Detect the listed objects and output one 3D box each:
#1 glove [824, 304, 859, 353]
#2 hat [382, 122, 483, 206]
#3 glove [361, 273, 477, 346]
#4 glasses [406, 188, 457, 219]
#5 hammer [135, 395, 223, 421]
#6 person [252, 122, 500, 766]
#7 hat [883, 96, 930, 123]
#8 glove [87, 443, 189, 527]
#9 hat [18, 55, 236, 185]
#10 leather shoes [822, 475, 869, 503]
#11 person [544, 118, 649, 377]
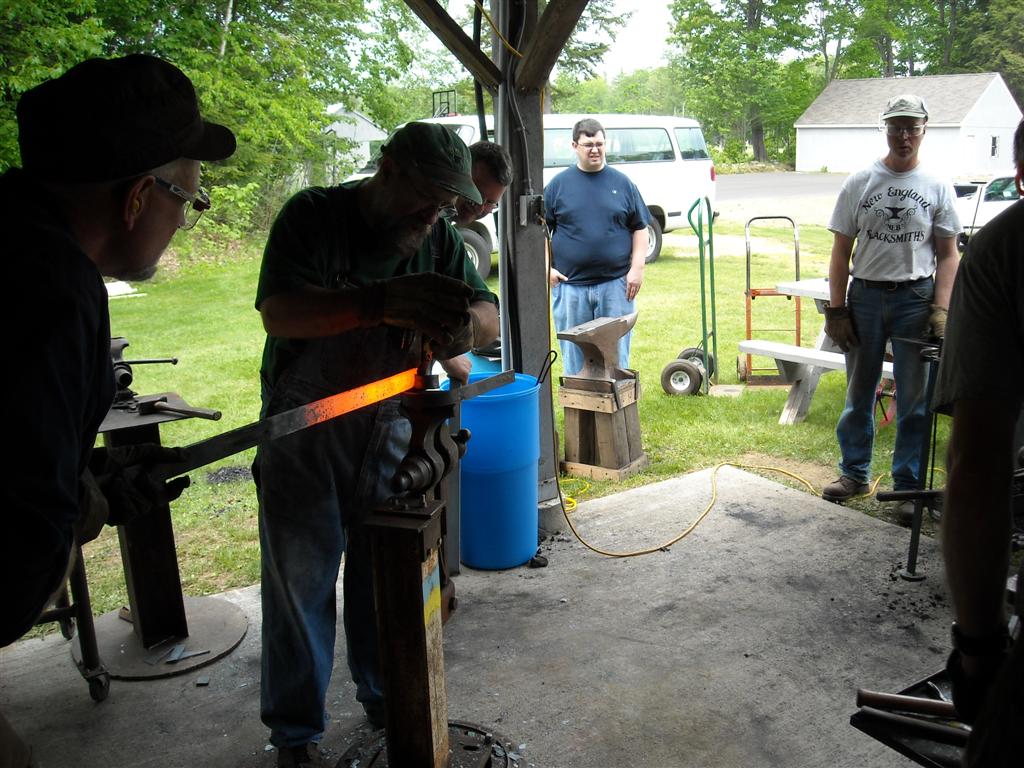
[{"bbox_3d":[2.101,-0.358,5.482,0.108,0.268,0.195,-12,-2,-11],"label":"glove"},{"bbox_3d":[-0.292,-0.837,3.141,0.356,0.255,0.465,4,13,-39],"label":"hat"},{"bbox_3d":[-0.325,-0.268,2.823,0.297,0.096,0.231,15,39,11],"label":"glove"},{"bbox_3d":[-0.302,-0.652,3.078,0.107,0.037,0.113,-4,40,-31],"label":"glasses"},{"bbox_3d":[-1.585,0.114,4.023,0.438,0.093,0.172,3,15,32],"label":"hammer"},{"bbox_3d":[-0.533,0.302,3.182,0.922,2.475,0.846,-4,11,-15],"label":"person"},{"bbox_3d":[2.414,-1.691,5.239,0.252,0.180,0.283,3,11,23],"label":"hat"},{"bbox_3d":[-1.062,0.269,2.380,0.261,0.200,0.113,-23,0,-32],"label":"glove"},{"bbox_3d":[-1.048,-0.739,2.307,0.543,0.285,0.419,-4,23,9],"label":"hat"},{"bbox_3d":[2.219,0.696,5.667,0.373,0.164,0.139,3,-2,-31],"label":"leather shoes"},{"bbox_3d":[0.666,-1.239,6.690,0.801,1.622,0.495,0,10,6],"label":"person"}]
